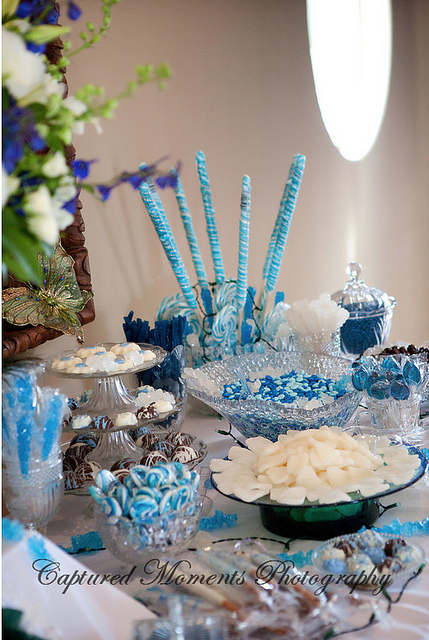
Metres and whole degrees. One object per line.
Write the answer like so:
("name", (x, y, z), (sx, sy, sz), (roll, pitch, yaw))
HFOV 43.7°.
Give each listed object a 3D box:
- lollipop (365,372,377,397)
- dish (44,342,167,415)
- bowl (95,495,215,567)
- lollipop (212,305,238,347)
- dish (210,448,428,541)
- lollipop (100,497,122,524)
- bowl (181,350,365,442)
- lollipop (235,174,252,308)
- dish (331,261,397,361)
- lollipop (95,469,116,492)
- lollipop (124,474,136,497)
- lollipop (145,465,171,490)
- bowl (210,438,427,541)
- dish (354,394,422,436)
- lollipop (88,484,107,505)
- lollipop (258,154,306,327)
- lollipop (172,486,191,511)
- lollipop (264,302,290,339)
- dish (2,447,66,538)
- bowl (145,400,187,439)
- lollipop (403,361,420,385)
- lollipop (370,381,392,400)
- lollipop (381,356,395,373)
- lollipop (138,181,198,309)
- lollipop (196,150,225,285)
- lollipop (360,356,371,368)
("lollipop", (0.242, 0.101, 0.834), (0.018, 0.031, 0.027), (5, 12, 16))
("dish", (-0.169, 0.105, 0.832), (0.151, 0.114, 0.113), (-3, 17, -2))
("bowl", (-0.062, 0.193, 0.506), (0.083, 0.049, 0.081), (-2, -7, 0))
("lollipop", (0.022, 0.013, 1.157), (0.019, 0.089, 0.071), (4, 4, 43))
("dish", (0.139, 0.181, 0.749), (0.276, 0.076, 0.260), (7, 7, 43))
("lollipop", (-0.098, 0.178, 0.502), (0.008, 0.022, 0.022), (13, -43, -39))
("bowl", (0.094, 0.121, 0.943), (0.212, 0.077, 0.219), (-3, -2, 0))
("lollipop", (0.064, -0.171, 1.206), (0.034, 0.242, 0.072), (-4, 10, -4))
("dish", (0.381, -0.013, 1.377), (0.144, 0.258, 0.158), (-4, 15, -10))
("lollipop", (-0.111, 0.163, 0.540), (0.016, 0.019, 0.011), (-3, -8, -31))
("lollipop", (-0.081, 0.160, 0.512), (0.004, 0.015, 0.016), (-11, -24, -9))
("lollipop", (-0.055, 0.154, 0.521), (0.022, 0.015, 0.030), (1, 2, 17))
("bowl", (0.121, 0.178, 0.635), (0.134, 0.033, 0.131), (-3, 3, 0))
("dish", (0.289, 0.159, 0.864), (0.133, 0.066, 0.067), (-2, 8, 16))
("lollipop", (-0.118, 0.176, 0.542), (0.019, 0.006, 0.014), (39, 12, 4))
("lollipop", (0.186, -0.243, 1.529), (0.046, 0.616, 0.046), (15, -3, 22))
("lollipop", (-0.031, 0.170, 0.506), (0.004, 0.017, 0.017), (9, -21, 21))
("lollipop", (0.139, 0.001, 1.241), (0.014, 0.071, 0.061), (24, 2, 19))
("dish", (-0.190, 0.181, 0.571), (0.074, 0.085, 0.049), (-1, 4, -36))
("bowl", (-0.086, 0.179, 0.955), (0.050, 0.065, 0.053), (-1, 15, 0))
("lollipop", (0.308, 0.085, 0.841), (0.025, 0.032, 0.039), (1, 3, 7))
("lollipop", (0.253, 0.107, 0.815), (0.029, 0.019, 0.026), (1, 11, 3))
("lollipop", (0.288, 0.076, 0.906), (0.006, 0.024, 0.025), (21, 21, 9))
("lollipop", (-0.103, -0.165, 1.164), (0.089, 0.253, 0.120), (-7, 13, -11))
("lollipop", (-0.007, -0.240, 1.262), (0.059, 0.301, 0.081), (-5, 13, -11))
("lollipop", (0.268, 0.075, 0.950), (0.013, 0.015, 0.024), (-11, 19, 6))
